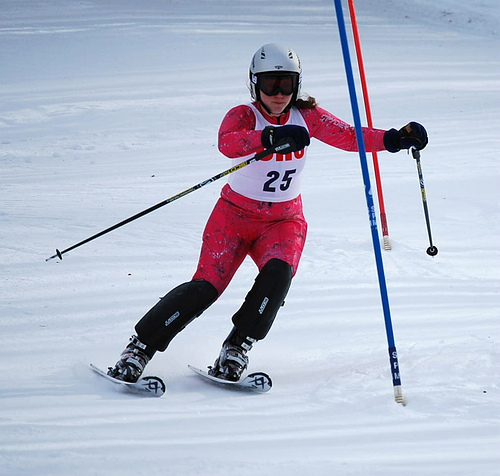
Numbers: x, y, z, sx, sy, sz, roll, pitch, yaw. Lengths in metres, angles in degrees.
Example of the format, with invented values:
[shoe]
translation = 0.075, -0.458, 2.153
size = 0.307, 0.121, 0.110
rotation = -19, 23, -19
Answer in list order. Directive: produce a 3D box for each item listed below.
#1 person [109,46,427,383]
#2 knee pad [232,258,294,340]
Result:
[person]
translation = -0.004, -0.147, 3.826
size = 1.572, 1.810, 0.569
rotation = -5, 11, -28
[knee pad]
translation = 0.071, 0.330, 3.741
size = 0.293, 0.427, 0.154
rotation = 32, -6, -7
